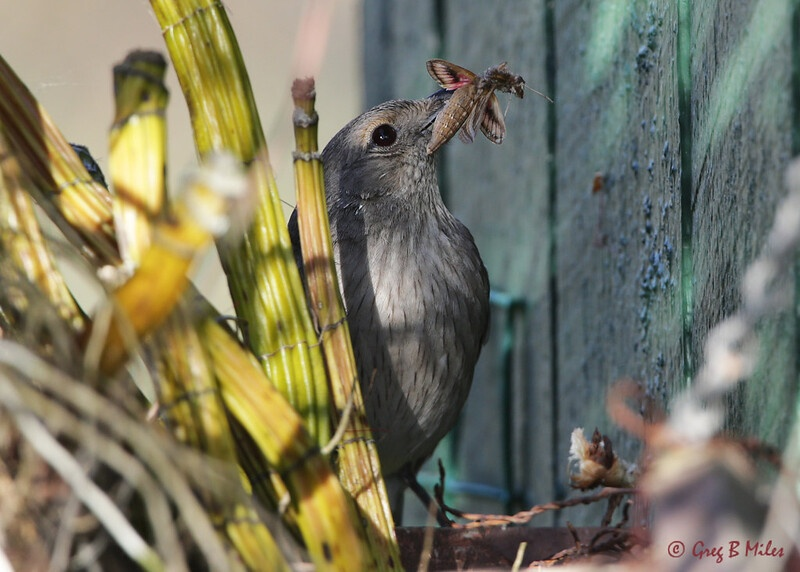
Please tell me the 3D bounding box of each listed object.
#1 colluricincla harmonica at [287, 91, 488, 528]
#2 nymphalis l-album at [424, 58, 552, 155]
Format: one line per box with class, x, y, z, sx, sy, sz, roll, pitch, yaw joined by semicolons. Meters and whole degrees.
colluricincla harmonica;0.007;0.047;2.862;0.347;0.769;0.339;-11;7;-24
nymphalis l-album;0.138;-0.326;2.690;0.189;0.167;0.225;-11;7;-3
